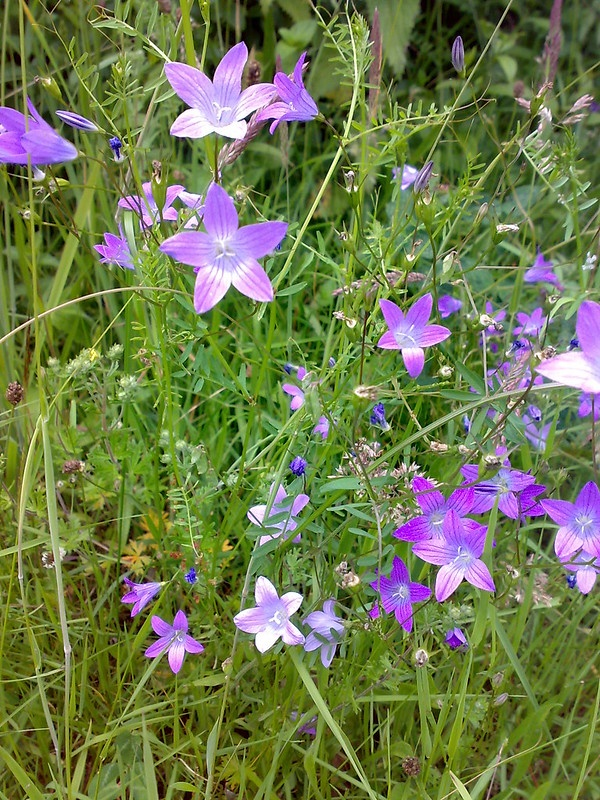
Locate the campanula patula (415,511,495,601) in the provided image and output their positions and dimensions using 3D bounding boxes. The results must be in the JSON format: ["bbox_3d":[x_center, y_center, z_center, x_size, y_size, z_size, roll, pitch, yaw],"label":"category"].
[{"bbox_3d":[0.242,0.249,1.138,0.129,0.126,0.133,-6,78,-4],"label":"campanula patula"}]

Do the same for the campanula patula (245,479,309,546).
[{"bbox_3d":[-0.042,0.210,1.278,0.097,0.052,0.111,18,74,35],"label":"campanula patula"}]

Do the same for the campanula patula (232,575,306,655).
[{"bbox_3d":[-0.049,0.347,1.136,0.098,0.043,0.128,25,80,17],"label":"campanula patula"}]
